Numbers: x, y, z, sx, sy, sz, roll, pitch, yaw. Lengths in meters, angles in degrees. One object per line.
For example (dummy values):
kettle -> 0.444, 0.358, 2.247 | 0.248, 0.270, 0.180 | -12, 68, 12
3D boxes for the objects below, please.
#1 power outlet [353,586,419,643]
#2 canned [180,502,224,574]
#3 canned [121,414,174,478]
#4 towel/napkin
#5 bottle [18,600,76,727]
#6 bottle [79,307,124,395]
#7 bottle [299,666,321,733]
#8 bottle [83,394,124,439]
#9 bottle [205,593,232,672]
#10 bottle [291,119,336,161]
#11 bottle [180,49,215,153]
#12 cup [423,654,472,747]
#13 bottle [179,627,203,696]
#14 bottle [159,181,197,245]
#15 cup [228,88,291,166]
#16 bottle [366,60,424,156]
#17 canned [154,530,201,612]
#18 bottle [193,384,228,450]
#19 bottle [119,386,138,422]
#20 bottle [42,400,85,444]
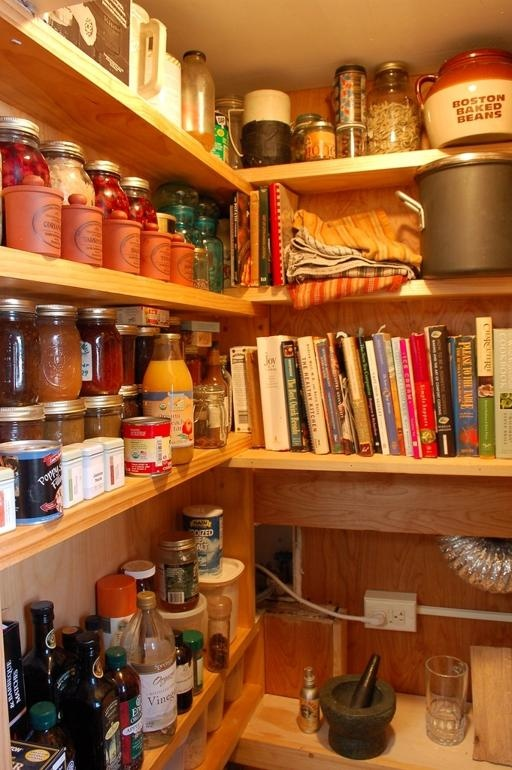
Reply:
power outlet -> 0.341, 0.581, 1.470 | 0.164, 0.127, 0.094 | 0, 0, 18
canned -> -0.118, 0.363, 1.307 | 0.086, 0.145, 0.091 | 0, -6, 12
canned -> -0.166, 0.089, 0.879 | 0.075, 0.083, 0.072 | -5, 12, -34
towel/napkin -> 0.205, -0.280, 1.282 | 0.255, 0.090, 0.264 | -2, 23, -1
bottle -> -0.288, 0.374, 0.795 | 0.064, 0.167, 0.076 | -3, 0, -15
bottle -> -0.224, -0.047, 0.830 | 0.057, 0.129, 0.037 | -3, 0, -19
bottle -> 0.126, 0.753, 1.389 | 0.057, 0.150, 0.130 | -2, 1, 4
bottle -> -0.217, 0.045, 0.824 | 0.054, 0.060, 0.056 | 1, 1, 19
bottle -> -0.078, 0.527, 1.238 | 0.049, 0.152, 0.095 | -2, 0, 6
bottle -> 0.135, -0.563, 1.383 | 0.103, 0.092, 0.109 | 2, 8, 23
bottle -> -0.115, -0.568, 1.126 | 0.062, 0.194, 0.103 | -2, 0, -7
cup -> 0.441, 0.750, 1.359 | 0.108, 0.185, 0.116 | 8, -13, 2
bottle -> -0.115, 0.527, 1.072 | 0.033, 0.120, 0.079 | -2, 0, -9
bottle -> -0.163, -0.360, 1.226 | 0.085, 0.135, 0.225 | -3, 1, -5
cup -> 0.009, -0.604, 1.386 | 0.159, 0.180, 0.112 | -3, 10, -23
bottle -> 0.313, -0.619, 1.331 | 0.112, 0.204, 0.120 | -2, 9, 0
canned -> -0.151, 0.373, 1.153 | 0.082, 0.148, 0.089 | 1, 5, 35
bottle -> -0.095, 0.066, 1.191 | 0.066, 0.130, 0.064 | -2, 0, 0
bottle -> -0.206, 0.028, 0.949 | 0.041, 0.045, 0.042 | 0, 7, -3
bottle -> -0.238, 0.047, 0.726 | 0.047, 0.052, 0.048 | 0, 1, -2
